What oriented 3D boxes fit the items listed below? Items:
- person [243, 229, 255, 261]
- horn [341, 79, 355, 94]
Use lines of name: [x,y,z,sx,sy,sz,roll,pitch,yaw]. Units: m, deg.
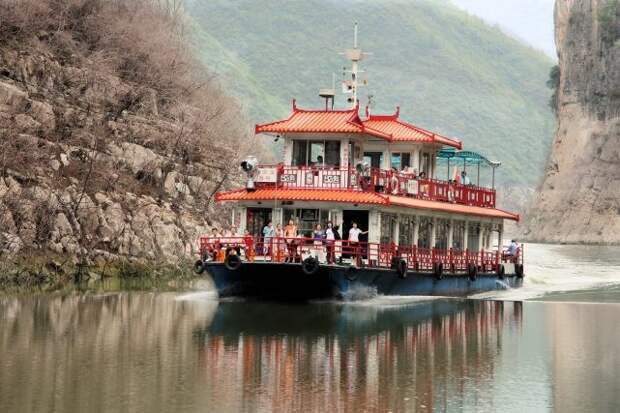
person: [-3.467,2.316,67.970,0.629,1.327,1.248,1,10,-3]
horn: [2.283,-7.477,75.376,0.860,0.885,0.854,-8,7,-36]
